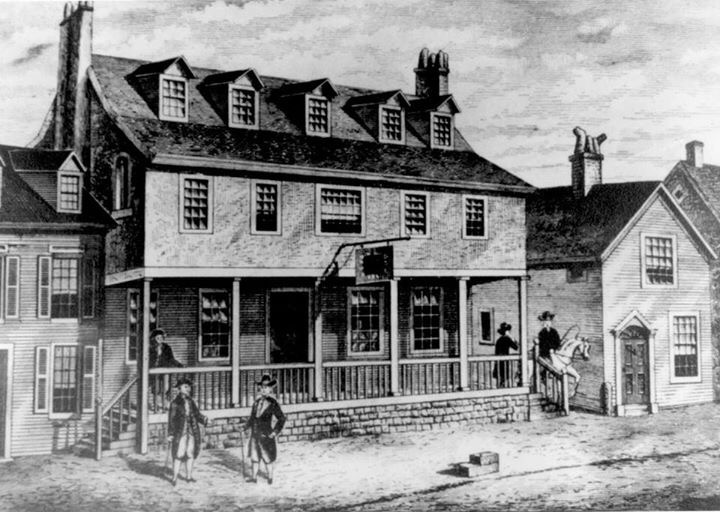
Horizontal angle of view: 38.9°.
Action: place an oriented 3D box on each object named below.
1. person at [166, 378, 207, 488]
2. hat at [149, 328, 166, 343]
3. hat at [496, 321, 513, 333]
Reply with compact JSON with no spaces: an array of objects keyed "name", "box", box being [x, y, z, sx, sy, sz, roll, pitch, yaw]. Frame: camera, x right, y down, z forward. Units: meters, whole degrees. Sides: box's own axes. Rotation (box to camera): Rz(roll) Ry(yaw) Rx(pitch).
[{"name":"person","box":[-4.085,4.075,23.838,0.780,2.452,1.118,1,-10,-14]},{"name":"hat","box":[-5.112,2.001,25.963,0.347,0.425,0.333,-1,-14,-28]},{"name":"hat","box":[4.011,1.969,28.452,0.333,0.084,0.326,-16,-2,-26]}]
